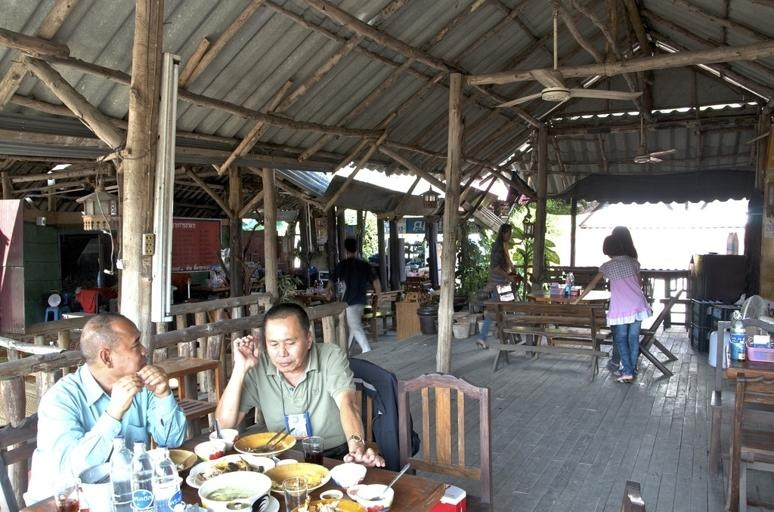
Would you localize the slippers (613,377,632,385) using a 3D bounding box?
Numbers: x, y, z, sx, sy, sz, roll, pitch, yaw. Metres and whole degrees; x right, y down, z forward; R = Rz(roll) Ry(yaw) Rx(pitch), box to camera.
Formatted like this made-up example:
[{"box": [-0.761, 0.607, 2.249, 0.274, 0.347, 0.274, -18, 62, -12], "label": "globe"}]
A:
[{"box": [3.393, 1.780, 8.247, 0.222, 0.107, 0.092, 4, -2, 18], "label": "slippers"}]

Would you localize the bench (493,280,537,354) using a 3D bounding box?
[{"box": [2.117, 1.041, 9.493, 0.549, 0.851, 1.232, -1, 0, 24], "label": "bench"}]

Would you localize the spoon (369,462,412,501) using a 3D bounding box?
[{"box": [0.028, 1.533, 3.845, 0.092, 0.057, 0.390, 17, 52, 36], "label": "spoon"}]

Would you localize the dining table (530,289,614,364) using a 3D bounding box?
[{"box": [2.838, 1.113, 8.867, 1.114, 0.800, 0.487, 2, 21, 30], "label": "dining table"}]

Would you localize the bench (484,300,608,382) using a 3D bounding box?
[{"box": [2.543, 1.090, 8.915, 1.574, 0.950, 1.306, 0, 10, 17], "label": "bench"}]

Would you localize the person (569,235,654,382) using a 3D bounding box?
[{"box": [3.392, 0.693, 8.316, 0.774, 2.258, 0.855, -2, -1, 22], "label": "person"}]

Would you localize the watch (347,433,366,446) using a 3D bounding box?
[{"box": [-0.221, 1.365, 4.312, 0.104, 0.065, 0.102, -38, -14, 16], "label": "watch"}]

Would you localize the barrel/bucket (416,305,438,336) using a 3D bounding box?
[{"box": [0.829, 1.300, 11.651, 0.512, 0.527, 0.526, -1, 5, 0], "label": "barrel/bucket"}]

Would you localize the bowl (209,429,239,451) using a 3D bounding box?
[{"box": [-1.211, 1.387, 4.345, 0.136, 0.069, 0.140, -1, -5, 0], "label": "bowl"}]

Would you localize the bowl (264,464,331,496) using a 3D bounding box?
[{"box": [-0.606, 1.485, 3.827, 0.387, 0.084, 0.399, 2, -3, 0], "label": "bowl"}]

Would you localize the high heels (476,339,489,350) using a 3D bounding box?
[{"box": [1.723, 1.604, 10.408, 0.138, 0.224, 0.427, 1, -13, -8], "label": "high heels"}]

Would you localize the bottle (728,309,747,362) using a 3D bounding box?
[{"box": [3.423, 0.816, 5.594, 0.145, 0.272, 0.306, -2, -2, 31], "label": "bottle"}]

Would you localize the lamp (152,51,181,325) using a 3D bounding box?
[{"box": [-2.141, -0.629, 5.528, 0.265, 2.544, 0.483, -1, -1, -22], "label": "lamp"}]

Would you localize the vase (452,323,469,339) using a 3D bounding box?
[{"box": [1.472, 1.469, 11.476, 0.356, 0.273, 0.360, -1, -2, -32], "label": "vase"}]

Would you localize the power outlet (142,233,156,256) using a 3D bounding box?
[{"box": [-2.264, -0.103, 5.450, 0.115, 0.207, 0.028, 0, -2, -44], "label": "power outlet"}]

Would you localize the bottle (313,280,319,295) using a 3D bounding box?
[{"box": [-1.759, 0.796, 14.205, 0.144, 0.457, 0.147, 1, 17, 0], "label": "bottle"}]
